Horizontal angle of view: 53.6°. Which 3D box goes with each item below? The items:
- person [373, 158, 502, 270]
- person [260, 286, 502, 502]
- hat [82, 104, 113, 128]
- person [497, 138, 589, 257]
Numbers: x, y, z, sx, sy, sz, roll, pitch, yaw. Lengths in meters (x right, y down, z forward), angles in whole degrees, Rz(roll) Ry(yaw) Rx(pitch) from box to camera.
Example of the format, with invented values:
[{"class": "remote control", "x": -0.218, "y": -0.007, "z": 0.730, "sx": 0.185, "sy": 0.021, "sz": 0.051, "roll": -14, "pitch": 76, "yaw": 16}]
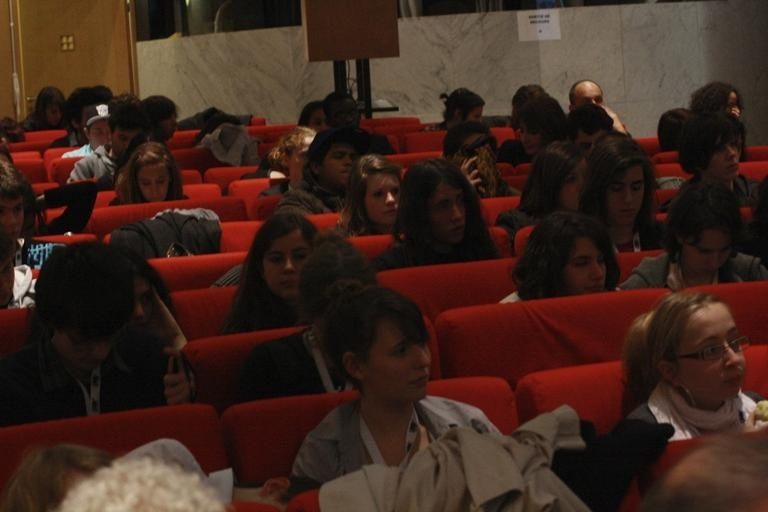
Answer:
[{"class": "person", "x": 0.272, "y": -0.245, "z": 4.250, "sx": 0.728, "sy": 0.669, "sz": 0.463, "roll": -10, "pitch": 21, "yaw": -12}, {"class": "person", "x": -0.044, "y": 0.451, "z": 2.802, "sx": 0.817, "sy": 0.660, "sz": 0.340, "roll": -5, "pitch": 11, "yaw": -15}, {"class": "hat", "x": -2.809, "y": -1.406, "z": 7.466, "sx": 0.320, "sy": 0.152, "sz": 0.485, "roll": -7, "pitch": 0, "yaw": -17}, {"class": "person", "x": 0.939, "y": -0.338, "z": 4.443, "sx": 0.346, "sy": 0.986, "sz": 0.719, "roll": 10, "pitch": 18, "yaw": 30}]
